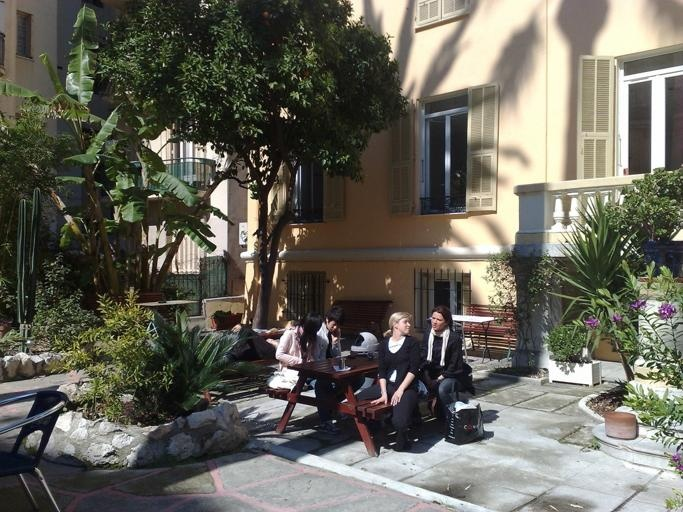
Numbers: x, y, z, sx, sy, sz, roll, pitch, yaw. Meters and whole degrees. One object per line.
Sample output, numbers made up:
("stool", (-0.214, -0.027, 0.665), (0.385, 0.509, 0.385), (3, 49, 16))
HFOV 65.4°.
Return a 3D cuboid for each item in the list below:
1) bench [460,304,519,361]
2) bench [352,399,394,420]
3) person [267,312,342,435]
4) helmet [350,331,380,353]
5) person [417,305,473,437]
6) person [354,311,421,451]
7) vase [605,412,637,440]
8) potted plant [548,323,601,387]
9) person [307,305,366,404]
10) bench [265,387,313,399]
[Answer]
("bench", (3.481, 1.834, 12.502), (1.242, 1.010, 0.522), (-3, -5, 44))
("bench", (0.396, 2.060, 7.087), (0.380, 0.202, 0.460), (2, -5, -45))
("person", (-0.505, 1.796, 8.500), (1.093, 1.907, 1.284), (-2, 1, 25))
("helmet", (0.419, 1.450, 8.880), (0.378, 0.256, 0.279), (6, -7, -36))
("person", (1.392, 1.732, 8.013), (1.033, 1.813, 1.030), (1, 1, 23))
("person", (0.737, 1.702, 7.266), (0.548, 1.786, 0.648), (-4, -4, 44))
("vase", (3.555, 2.175, 6.847), (0.314, 0.267, 0.332), (-1, -4, 3))
("potted plant", (4.392, 1.926, 10.294), (0.863, 1.115, 0.684), (0, -3, -19))
("person", (-0.190, 1.474, 8.525), (0.756, 1.216, 0.933), (0, -10, 29))
("bench", (-0.787, 2.051, 7.951), (0.471, 0.137, 0.549), (-3, -9, 31))
